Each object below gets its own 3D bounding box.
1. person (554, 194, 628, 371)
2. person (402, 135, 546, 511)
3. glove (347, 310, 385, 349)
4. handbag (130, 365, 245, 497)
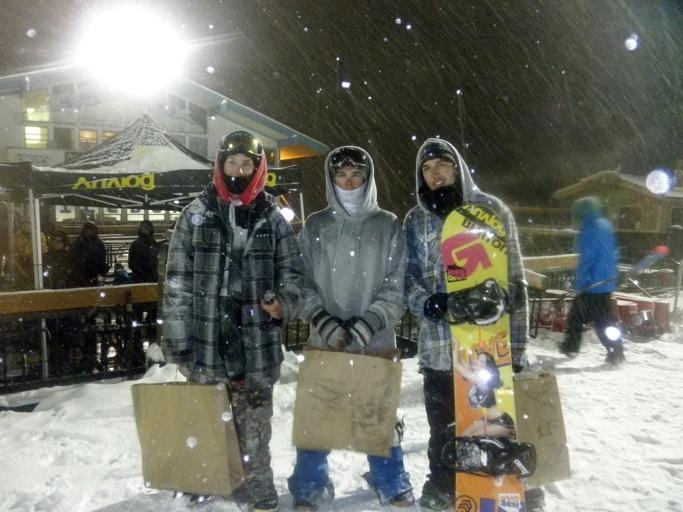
[{"bbox_3d":[3.843,0.358,8.721,0.825,2.577,0.475,-2,-2,29],"label":"person"},{"bbox_3d":[1.195,0.275,6.025,0.988,4.475,0.734,-3,0,13],"label":"person"},{"bbox_3d":[0.230,0.686,5.439,0.337,0.364,0.149,32,-14,-6],"label":"glove"},{"bbox_3d":[-1.426,1.701,5.411,1.128,1.245,0.403,-1,6,11],"label":"handbag"}]
